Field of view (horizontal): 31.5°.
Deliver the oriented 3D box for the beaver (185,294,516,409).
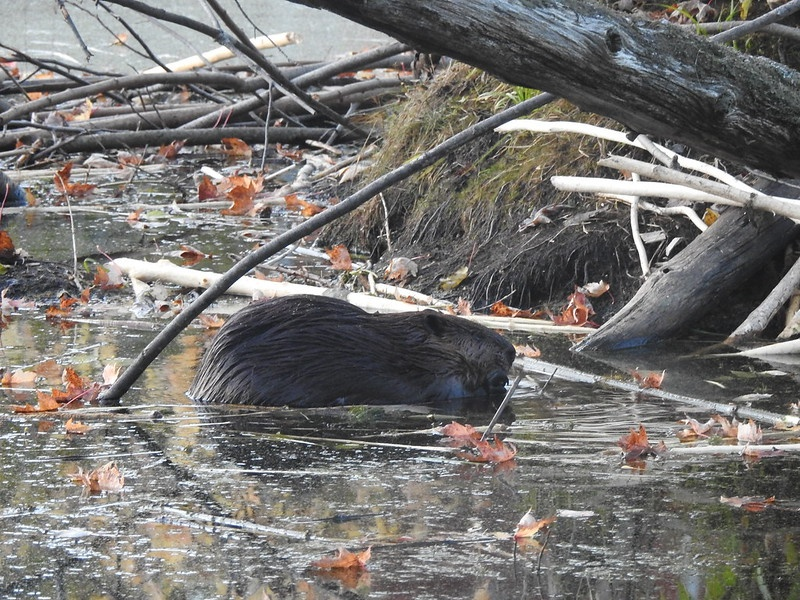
[{"bbox_3d":[-0.269,0.283,8.779,1.762,0.523,0.777,-2,3,-11],"label":"beaver"}]
